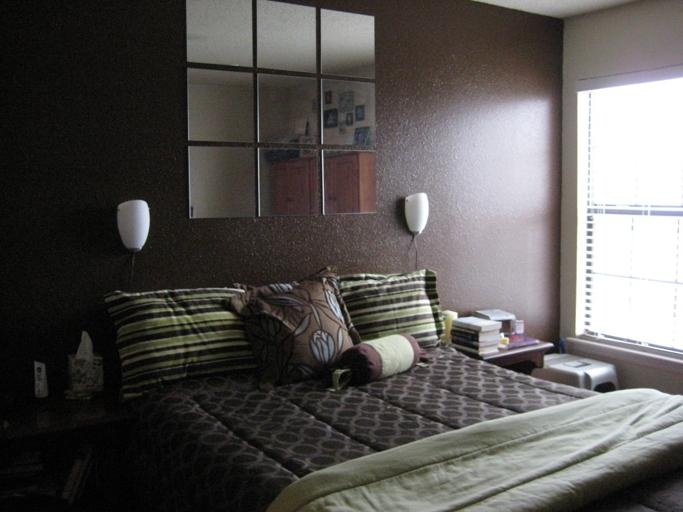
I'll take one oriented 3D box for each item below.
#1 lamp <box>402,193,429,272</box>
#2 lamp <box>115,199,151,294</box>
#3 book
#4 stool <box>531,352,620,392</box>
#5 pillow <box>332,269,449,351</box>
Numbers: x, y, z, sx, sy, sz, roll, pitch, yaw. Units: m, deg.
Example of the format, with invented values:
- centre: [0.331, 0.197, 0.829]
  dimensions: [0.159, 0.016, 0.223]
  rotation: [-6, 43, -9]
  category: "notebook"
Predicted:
- centre: [0.575, -0.174, 3.726]
  dimensions: [0.240, 0.551, 0.106]
  rotation: [-6, 9, -26]
  category: "lamp"
- centre: [-1.153, -0.060, 2.887]
  dimensions: [0.191, 0.500, 0.122]
  rotation: [-5, 9, -22]
  category: "lamp"
- centre: [0.999, 0.539, 3.629]
  dimensions: [0.302, 0.176, 0.393]
  rotation: [0, 1, -17]
  category: "book"
- centre: [1.821, 0.969, 4.012]
  dimensions: [0.503, 0.247, 0.493]
  rotation: [0, 5, -35]
  category: "stool"
- centre: [0.313, 0.373, 3.366]
  dimensions: [0.788, 0.536, 0.256]
  rotation: [-2, -14, -20]
  category: "pillow"
